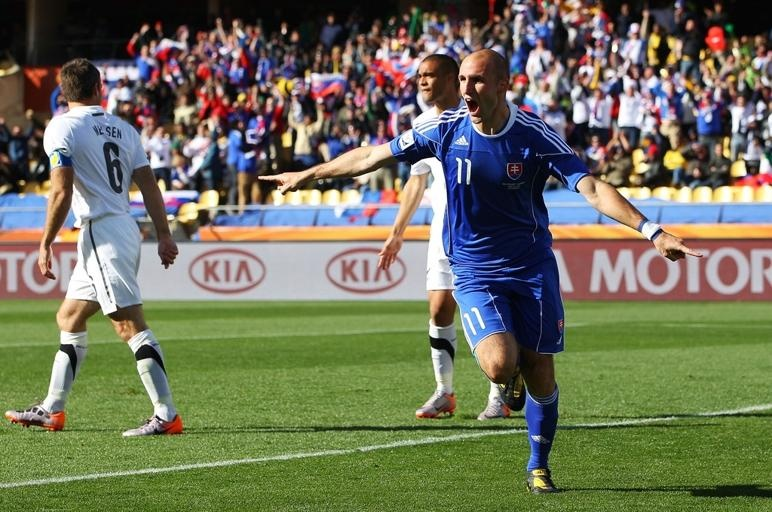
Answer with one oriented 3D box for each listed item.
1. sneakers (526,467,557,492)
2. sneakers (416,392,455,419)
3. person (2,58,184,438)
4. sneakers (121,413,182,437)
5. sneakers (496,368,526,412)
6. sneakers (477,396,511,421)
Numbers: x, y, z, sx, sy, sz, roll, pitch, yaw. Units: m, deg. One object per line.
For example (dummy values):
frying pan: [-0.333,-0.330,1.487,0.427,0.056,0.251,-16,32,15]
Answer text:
sneakers: [1.142,1.648,8.456,0.220,0.167,0.129,2,7,6]
sneakers: [0.454,1.316,10.150,0.425,0.223,0.150,3,-4,-32]
person: [-2.281,-0.053,9.455,1.208,3.064,0.643,4,8,21]
sneakers: [-1.890,1.401,9.537,0.501,0.206,0.187,0,-5,-4]
sneakers: [1.079,1.170,9.834,0.185,0.572,0.249,-5,5,-3]
sneakers: [0.930,1.341,10.016,0.125,0.153,0.350,-5,-9,42]
